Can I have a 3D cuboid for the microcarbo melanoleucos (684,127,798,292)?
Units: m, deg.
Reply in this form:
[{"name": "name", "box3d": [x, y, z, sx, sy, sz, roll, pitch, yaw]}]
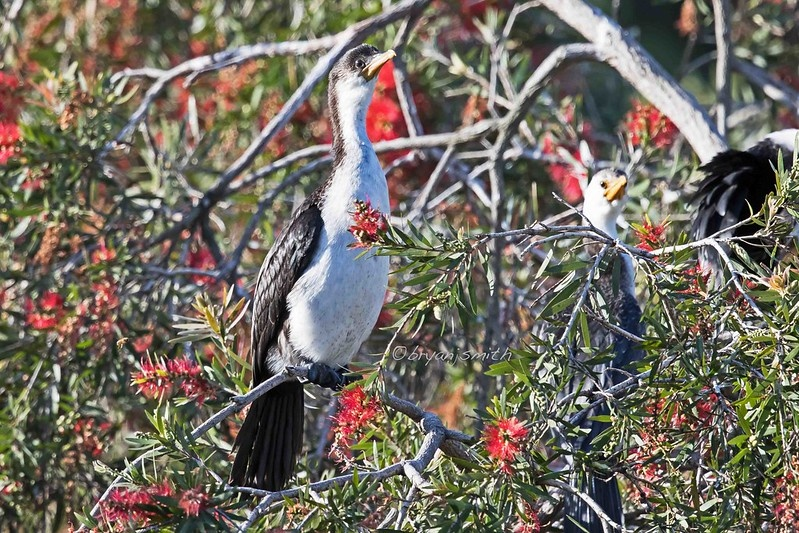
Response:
[{"name": "microcarbo melanoleucos", "box3d": [1.573, -0.225, 6.575, 0.473, 0.755, 0.271, 30, -17, -30]}]
